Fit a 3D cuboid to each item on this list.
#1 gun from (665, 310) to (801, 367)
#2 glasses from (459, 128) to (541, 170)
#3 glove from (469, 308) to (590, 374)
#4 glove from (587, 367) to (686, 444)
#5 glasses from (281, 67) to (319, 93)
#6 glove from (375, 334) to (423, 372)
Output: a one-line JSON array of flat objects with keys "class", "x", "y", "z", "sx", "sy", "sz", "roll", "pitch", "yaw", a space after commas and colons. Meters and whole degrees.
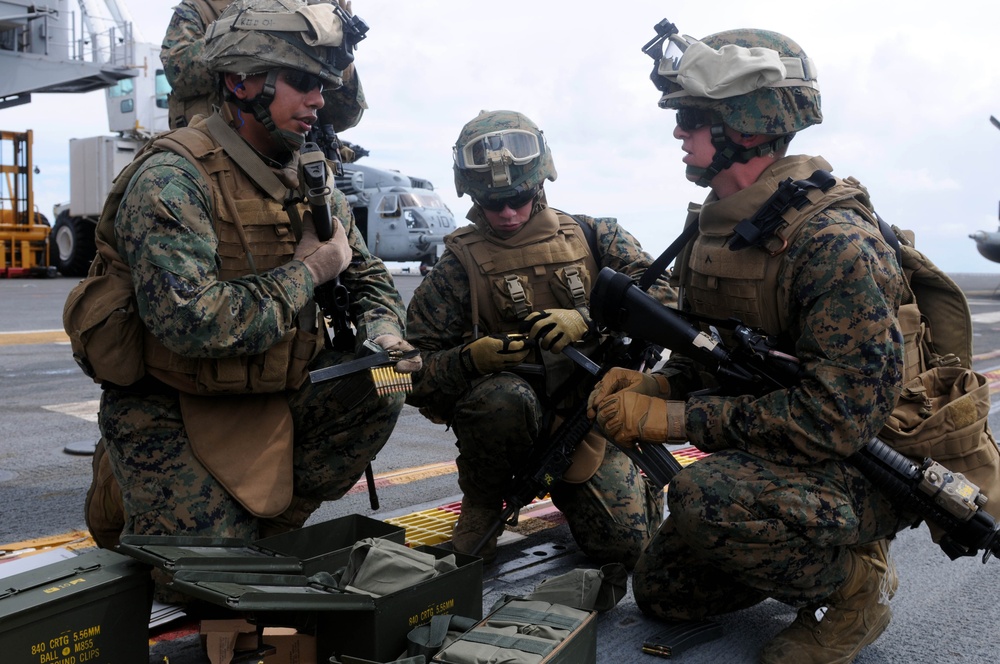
[{"class": "gun", "x": 1.081, "y": 0.073, "z": 4.259, "sx": 0.763, "sy": 0.375, "sz": 0.312, "roll": -1, "pitch": -1, "yaw": 25}, {"class": "glasses", "x": -0.004, "y": -1.023, "z": 5.203, "sx": 0.483, "sy": 0.222, "sz": 0.182, "roll": -1, "pitch": 9, "yaw": -2}, {"class": "glove", "x": 0.155, "y": 0.076, "z": 5.109, "sx": 0.563, "sy": 0.200, "sz": 0.329, "roll": -21, "pitch": 11, "yaw": 2}, {"class": "glove", "x": 0.655, "y": 0.310, "z": 4.426, "sx": 0.397, "sy": 0.400, "sz": 0.311, "roll": 1, "pitch": 0, "yaw": -1}, {"class": "glasses", "x": -0.949, "y": -1.197, "z": 4.435, "sx": 0.118, "sy": 0.053, "sz": 0.117, "roll": 36, "pitch": 18, "yaw": 33}, {"class": "glove", "x": -0.479, "y": 0.111, "z": 4.560, "sx": 0.085, "sy": 0.143, "sz": 0.229, "roll": -20, "pitch": -29, "yaw": 36}]
